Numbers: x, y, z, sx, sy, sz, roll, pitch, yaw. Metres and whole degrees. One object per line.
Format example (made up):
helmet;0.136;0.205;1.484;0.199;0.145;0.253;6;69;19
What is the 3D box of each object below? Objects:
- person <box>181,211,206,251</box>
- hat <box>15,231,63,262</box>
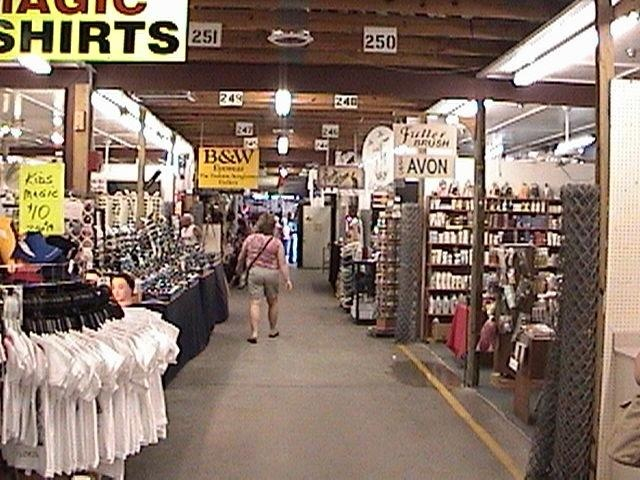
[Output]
person;-2.533;-0.103;11.226;0.466;0.677;2.120;0;4;-14
hat;-1.977;0.064;4.037;0.285;0.194;0.249;0;3;-12
